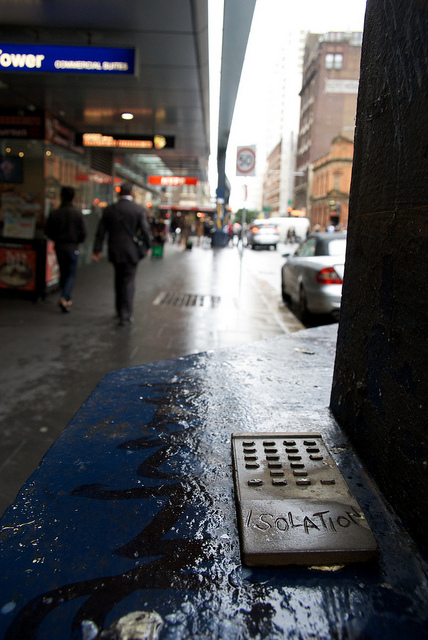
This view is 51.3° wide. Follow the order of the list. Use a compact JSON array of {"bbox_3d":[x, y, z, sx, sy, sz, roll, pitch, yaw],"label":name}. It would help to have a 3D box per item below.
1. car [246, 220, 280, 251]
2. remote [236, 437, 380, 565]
[{"bbox_3d":[3.606,-6.395,33.897,2.141,2.293,3.229,-1,8,-1],"label":"car"},{"bbox_3d":[0.157,0.327,0.886,0.214,0.032,0.448,-1,8,1],"label":"remote"}]
